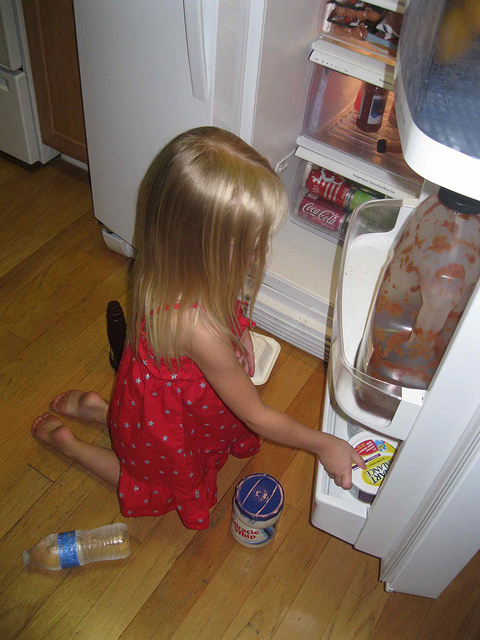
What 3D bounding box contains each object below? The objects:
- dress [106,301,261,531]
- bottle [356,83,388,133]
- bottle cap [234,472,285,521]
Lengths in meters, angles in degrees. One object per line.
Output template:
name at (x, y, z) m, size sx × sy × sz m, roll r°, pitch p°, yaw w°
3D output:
dress at (-0.122, 0.223, 0.968) m, size 0.242 × 0.352 × 0.302 m, roll 27°, pitch 54°, yaw 13°
bottle at (0.371, -0.589, 1.280) m, size 0.047 × 0.150 × 0.049 m, roll -2°, pitch 78°, yaw 8°
bottle cap at (0.039, 0.369, 0.991) m, size 0.077 × 0.087 × 0.083 m, roll 12°, pitch 40°, yaw 14°
